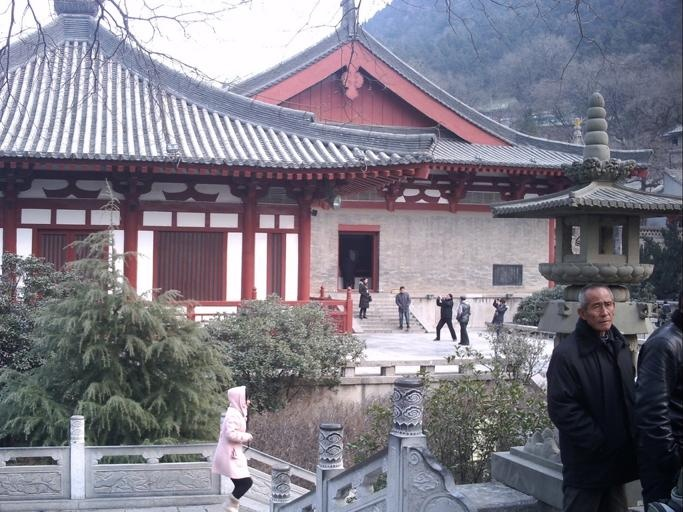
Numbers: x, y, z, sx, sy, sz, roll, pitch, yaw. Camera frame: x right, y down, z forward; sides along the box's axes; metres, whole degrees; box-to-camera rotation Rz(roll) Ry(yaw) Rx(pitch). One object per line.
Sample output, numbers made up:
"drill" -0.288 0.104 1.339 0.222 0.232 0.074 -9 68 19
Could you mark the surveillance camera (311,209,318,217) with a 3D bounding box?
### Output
"surveillance camera" -0.639 -1.095 37.723 0.172 0.162 0.125 3 28 -1
